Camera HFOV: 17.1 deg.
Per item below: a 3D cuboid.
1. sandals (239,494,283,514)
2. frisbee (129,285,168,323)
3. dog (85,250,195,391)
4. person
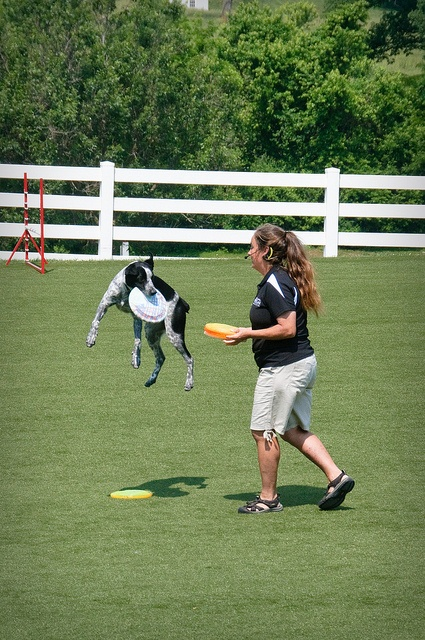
[{"bbox_3d":[0.301,1.107,8.464,0.248,0.136,0.103,0,3,-12],"label":"sandals"},{"bbox_3d":[-0.444,-0.103,9.954,0.273,0.232,0.177,0,9,-5],"label":"frisbee"},{"bbox_3d":[-0.501,0.020,10.290,0.618,1.063,0.617,9,12,42],"label":"dog"},{"bbox_3d":[0.448,0.309,8.566,0.665,1.745,0.552,0,-3,-8],"label":"person"}]
